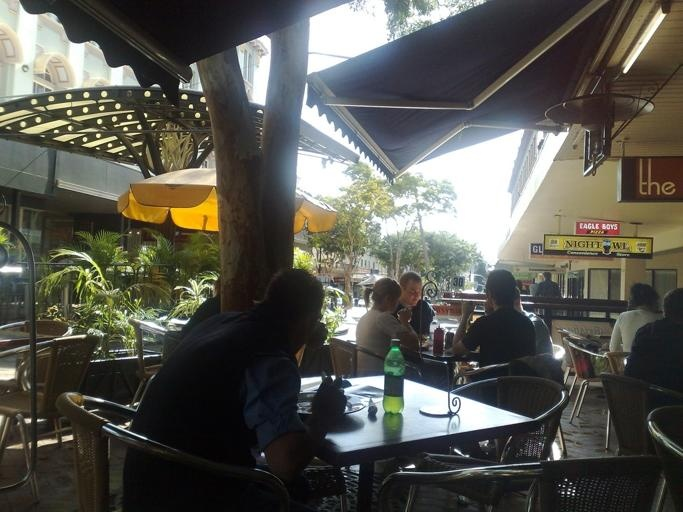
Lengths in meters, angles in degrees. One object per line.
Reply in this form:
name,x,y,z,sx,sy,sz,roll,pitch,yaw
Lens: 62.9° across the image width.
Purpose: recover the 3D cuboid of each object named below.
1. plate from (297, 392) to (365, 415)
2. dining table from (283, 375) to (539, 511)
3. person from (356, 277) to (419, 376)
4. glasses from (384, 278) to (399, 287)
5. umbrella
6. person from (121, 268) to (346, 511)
plate,-0.070,0.915,3.434,0.315,0.049,0.343,0,-3,-2
dining table,0.304,1.092,3.750,0.941,0.616,0.942,1,0,-31
person,0.560,0.784,6.247,0.676,1.067,1.025,2,-2,37
glasses,0.549,0.280,6.275,0.120,0.072,0.099,12,6,35
umbrella,-2.107,-0.703,7.565,1.733,0.605,1.727,1,-8,-7
person,-0.584,0.732,3.107,1.164,0.924,0.496,3,-2,6
